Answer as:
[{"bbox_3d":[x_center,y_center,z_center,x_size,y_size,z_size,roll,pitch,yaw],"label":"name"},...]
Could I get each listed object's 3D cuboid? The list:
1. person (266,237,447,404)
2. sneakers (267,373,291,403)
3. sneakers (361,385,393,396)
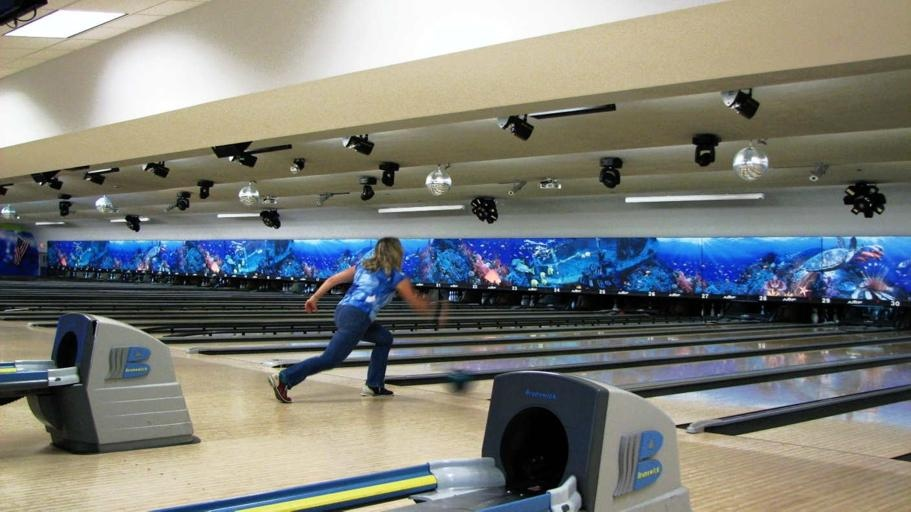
[{"bbox_3d":[-0.938,0.565,4.449,1.724,1.239,0.764,-1,4,-44],"label":"person"},{"bbox_3d":[-1.524,1.156,4.272,0.157,0.286,0.102,-27,20,3],"label":"sneakers"},{"bbox_3d":[-0.729,1.264,4.620,0.338,0.108,0.107,2,-2,-20],"label":"sneakers"}]
